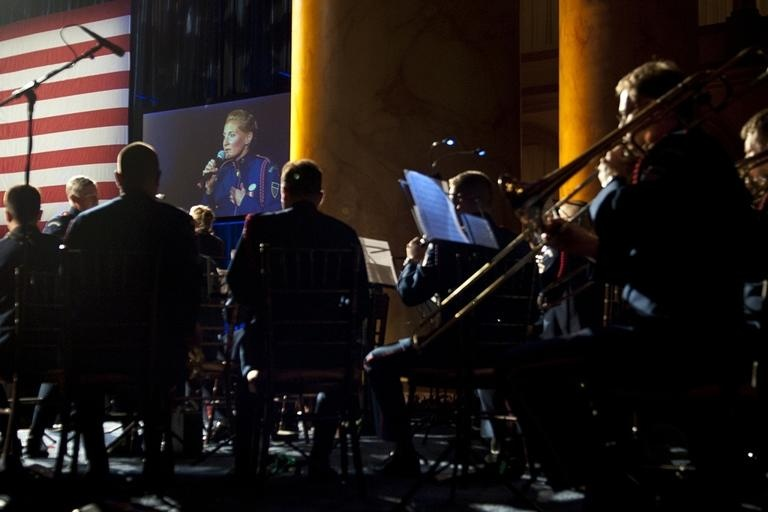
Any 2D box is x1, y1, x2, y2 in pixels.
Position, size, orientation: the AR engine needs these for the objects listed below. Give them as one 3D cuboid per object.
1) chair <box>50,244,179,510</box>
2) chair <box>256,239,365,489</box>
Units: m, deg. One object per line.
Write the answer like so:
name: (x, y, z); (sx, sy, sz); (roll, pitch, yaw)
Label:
chair: (-1.422, 0.617, 4.454); (0.458, 1.328, 0.479); (0, -1, -10)
chair: (-0.495, 0.563, 4.795); (0.627, 1.234, 0.600); (0, 6, -15)
